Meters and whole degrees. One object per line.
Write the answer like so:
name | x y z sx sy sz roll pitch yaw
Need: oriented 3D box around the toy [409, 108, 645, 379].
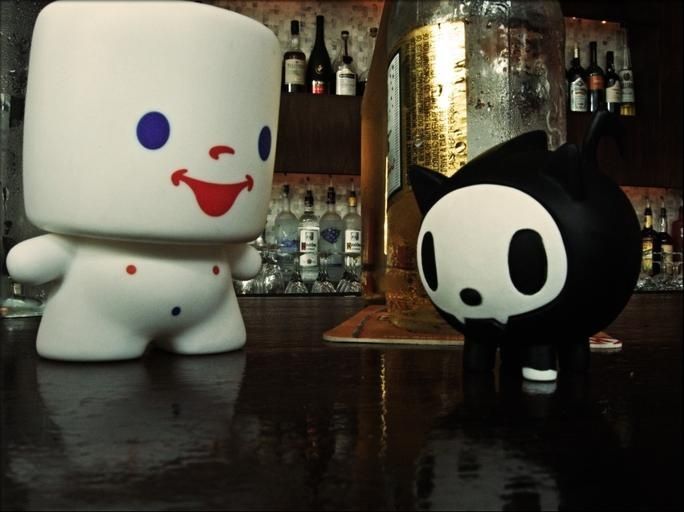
toy | 0.121 0.009 0.517 0.179 0.183 0.136 4 -7 -44
